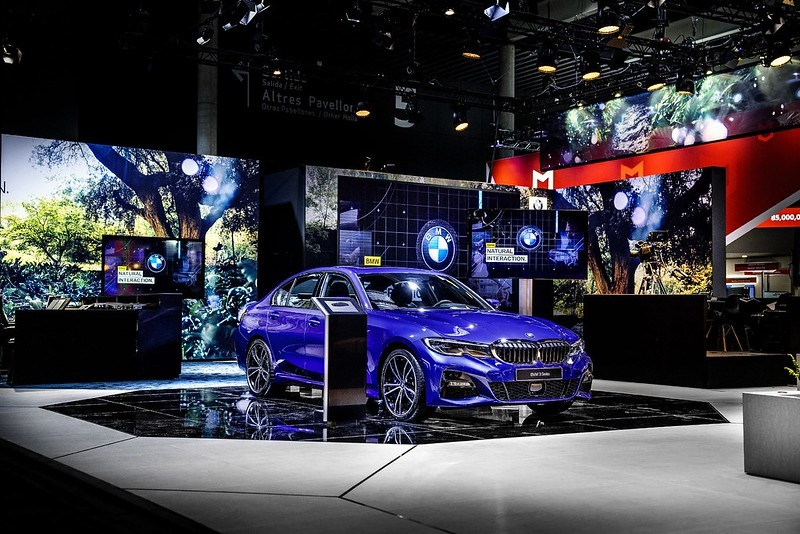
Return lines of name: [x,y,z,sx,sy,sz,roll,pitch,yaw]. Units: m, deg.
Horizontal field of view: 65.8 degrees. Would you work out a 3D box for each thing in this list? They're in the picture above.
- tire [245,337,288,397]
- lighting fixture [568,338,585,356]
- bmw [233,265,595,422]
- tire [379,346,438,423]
tire: [-2.054,1.492,9.396,0.761,0.791,0.316,25,17,27]
lighting fixture: [2.242,0.987,7.720,0.109,0.193,0.477,-1,-2,27]
bmw: [-0.314,0.989,8.503,5.224,1.999,2.967,-2,-2,38]
tire: [0.123,1.361,7.361,0.310,0.816,0.712,10,-25,-35]
